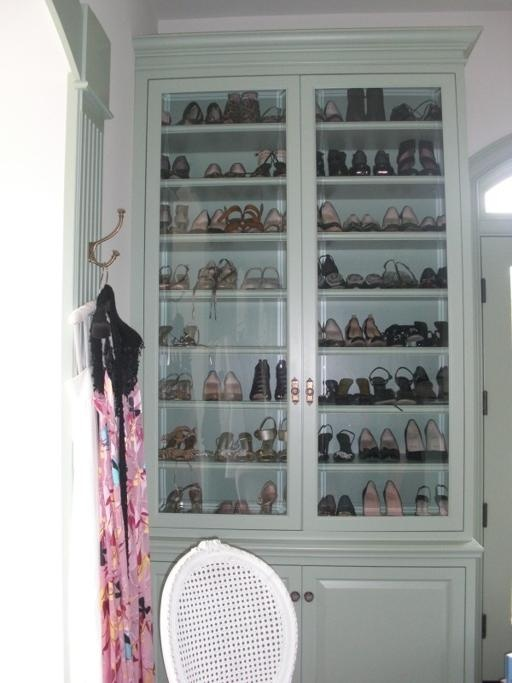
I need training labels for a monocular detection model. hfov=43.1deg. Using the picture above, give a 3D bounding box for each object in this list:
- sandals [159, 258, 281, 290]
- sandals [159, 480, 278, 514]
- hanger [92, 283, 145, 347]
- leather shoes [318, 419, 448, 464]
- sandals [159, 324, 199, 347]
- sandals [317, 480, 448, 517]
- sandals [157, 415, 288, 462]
[{"bbox_3d":[-0.135,-0.230,2.326,0.279,0.079,0.172,-3,2,-20],"label":"sandals"},{"bbox_3d":[-0.125,0.520,2.353,0.423,0.178,0.154,2,-7,2],"label":"sandals"},{"bbox_3d":[-0.402,-0.072,1.873,0.067,0.157,0.200,0,-3,38],"label":"hanger"},{"bbox_3d":[0.434,0.362,2.382,0.513,0.241,0.175,1,-6,1],"label":"leather shoes"},{"bbox_3d":[-0.275,-0.016,2.324,0.172,0.080,0.057,1,1,-8],"label":"sandals"},{"bbox_3d":[0.431,0.545,2.250,0.444,0.118,0.078,-2,-5,0],"label":"sandals"},{"bbox_3d":[-0.093,0.325,2.380,0.533,0.247,0.175,-1,-1,2],"label":"sandals"}]
